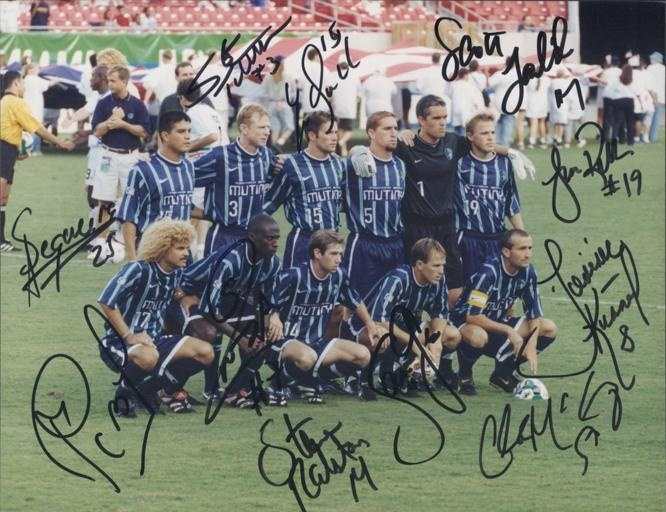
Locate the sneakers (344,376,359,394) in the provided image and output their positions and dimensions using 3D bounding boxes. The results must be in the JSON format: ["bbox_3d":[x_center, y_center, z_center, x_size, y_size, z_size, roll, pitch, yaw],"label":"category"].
[{"bbox_3d":[0.120,0.858,12.074,0.115,0.115,0.079,-3,-9,35],"label":"sneakers"}]

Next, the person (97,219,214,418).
[{"bbox_3d":[-1.093,0.397,11.713,0.724,1.223,0.285,0,5,-12],"label":"person"}]

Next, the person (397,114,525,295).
[{"bbox_3d":[0.820,-0.346,11.986,0.796,1.260,0.269,1,5,2],"label":"person"}]

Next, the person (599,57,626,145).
[{"bbox_3d":[3.251,-1.691,21.342,0.354,1.124,0.313,-5,-11,7],"label":"person"}]

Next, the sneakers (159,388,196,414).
[{"bbox_3d":[-0.978,0.935,11.905,0.224,0.101,0.115,13,13,24],"label":"sneakers"}]

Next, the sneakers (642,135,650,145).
[{"bbox_3d":[3.539,-1.311,21.370,0.115,0.146,0.344,0,0,8],"label":"sneakers"}]

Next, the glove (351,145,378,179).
[{"bbox_3d":[0.191,-0.586,11.944,0.131,0.212,0.057,-23,-4,42],"label":"glove"}]

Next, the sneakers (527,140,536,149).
[{"bbox_3d":[1.654,-0.922,15.680,0.065,0.084,0.211,-1,-9,7],"label":"sneakers"}]

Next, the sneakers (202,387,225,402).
[{"bbox_3d":[-0.765,0.901,11.800,0.067,0.057,0.126,1,-12,-43],"label":"sneakers"}]

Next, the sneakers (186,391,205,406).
[{"bbox_3d":[-0.879,0.949,12.006,0.161,0.101,0.053,3,0,-20],"label":"sneakers"}]

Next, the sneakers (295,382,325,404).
[{"bbox_3d":[-0.160,0.905,12.035,0.244,0.110,0.088,8,-5,35],"label":"sneakers"}]

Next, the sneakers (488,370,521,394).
[{"bbox_3d":[1.112,0.847,12.177,0.257,0.123,0.087,16,11,25],"label":"sneakers"}]

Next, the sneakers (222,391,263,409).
[{"bbox_3d":[-0.569,0.936,11.795,0.236,0.108,0.109,3,2,17],"label":"sneakers"}]

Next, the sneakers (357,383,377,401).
[{"bbox_3d":[0.219,0.893,11.987,0.134,0.102,0.083,10,2,36],"label":"sneakers"}]

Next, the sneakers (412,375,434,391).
[{"bbox_3d":[0.555,0.833,11.906,0.099,0.057,0.134,5,2,-3],"label":"sneakers"}]

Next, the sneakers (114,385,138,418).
[{"bbox_3d":[-1.298,0.941,11.750,0.125,0.214,0.076,-4,7,-30],"label":"sneakers"}]
